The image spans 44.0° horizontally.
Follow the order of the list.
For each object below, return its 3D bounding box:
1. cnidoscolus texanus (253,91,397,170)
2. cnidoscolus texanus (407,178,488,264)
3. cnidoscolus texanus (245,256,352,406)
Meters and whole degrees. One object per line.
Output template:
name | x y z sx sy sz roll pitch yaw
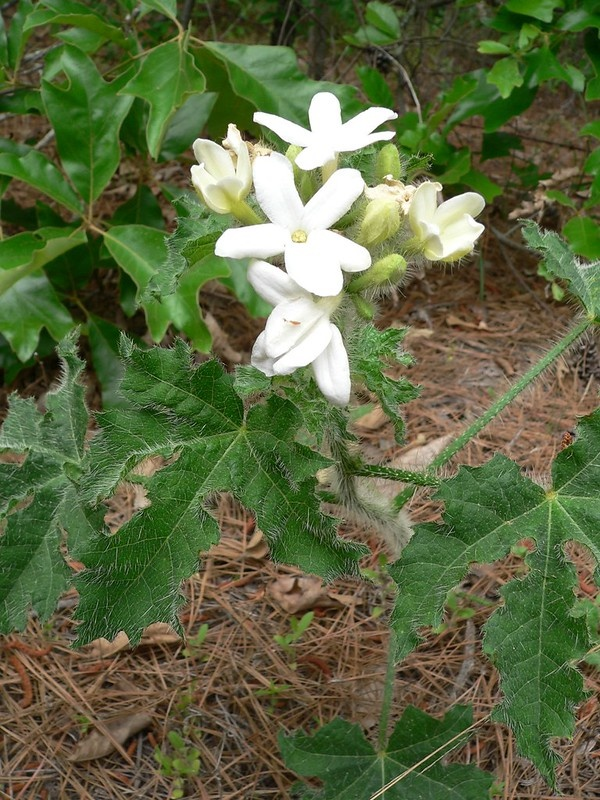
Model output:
cnidoscolus texanus | 0.058 -0.559 1.536 0.254 0.070 0.222 12 61 13
cnidoscolus texanus | 0.308 -0.368 1.575 0.158 0.208 0.116 0 36 11
cnidoscolus texanus | 0.000 -0.125 1.417 0.170 0.250 0.176 -6 35 2
